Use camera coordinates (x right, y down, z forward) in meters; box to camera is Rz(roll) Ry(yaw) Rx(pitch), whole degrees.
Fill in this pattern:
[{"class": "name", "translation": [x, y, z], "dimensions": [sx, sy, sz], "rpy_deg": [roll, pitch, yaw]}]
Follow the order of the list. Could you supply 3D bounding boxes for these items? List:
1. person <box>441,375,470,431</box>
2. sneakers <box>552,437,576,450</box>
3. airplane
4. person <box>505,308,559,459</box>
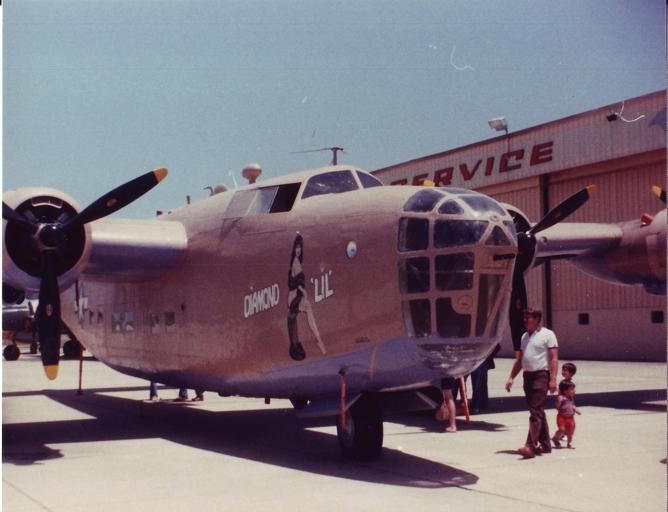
[{"class": "person", "translation": [2.182, 2.680, 14.821], "dimensions": [0.354, 1.358, 1.268], "rpy_deg": [-3, -5, 18]}, {"class": "sneakers", "translation": [3.887, 3.206, 14.023], "dimensions": [0.162, 0.234, 0.525], "rpy_deg": [-2, -17, -22]}, {"class": "airplane", "translation": [-1.138, 0.844, 14.593], "dimensions": [8.746, 4.791, 3.262], "rpy_deg": [0, -2, 18]}, {"class": "person", "translation": [3.247, 2.057, 13.353], "dimensions": [0.730, 2.426, 0.835], "rpy_deg": [0, -2, 12]}]
